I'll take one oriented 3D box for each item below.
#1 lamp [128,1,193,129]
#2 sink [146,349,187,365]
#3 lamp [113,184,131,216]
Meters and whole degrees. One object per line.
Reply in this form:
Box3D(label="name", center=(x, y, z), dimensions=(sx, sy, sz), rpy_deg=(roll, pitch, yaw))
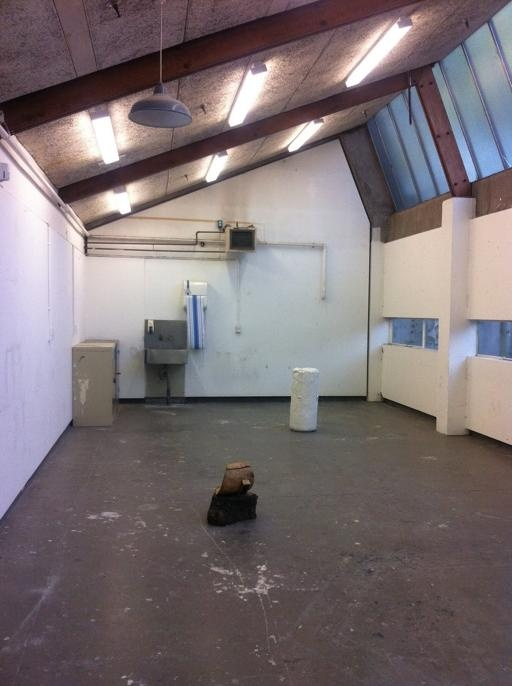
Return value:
Box3D(label="lamp", center=(-0.670, -1.836, 3.596), dimensions=(0.399, 0.791, 0.908), rpy_deg=(0, 2, -17))
Box3D(label="sink", center=(-1.586, 0.243, 9.322), dimensions=(0.743, 0.302, 0.580), rpy_deg=(1, 2, -11))
Box3D(label="lamp", center=(-1.996, -2.142, 7.821), dimensions=(0.151, 0.173, 0.318), rpy_deg=(-23, -26, -20))
